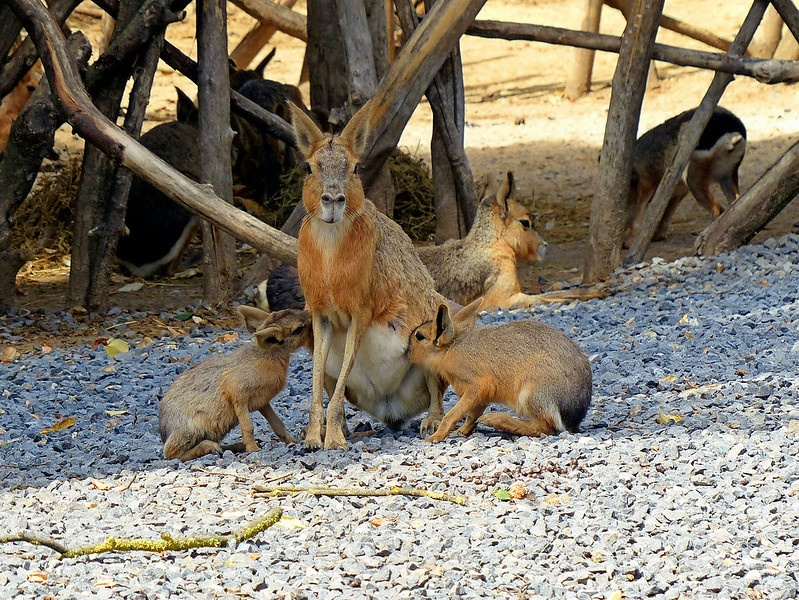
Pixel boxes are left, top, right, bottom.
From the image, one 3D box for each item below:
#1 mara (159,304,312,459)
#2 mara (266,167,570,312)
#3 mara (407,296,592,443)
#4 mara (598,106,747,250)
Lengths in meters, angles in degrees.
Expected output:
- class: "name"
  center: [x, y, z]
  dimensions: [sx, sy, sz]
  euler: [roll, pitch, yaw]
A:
- class: "mara"
  center: [-0.986, 0.570, 7.343]
  dimensions: [1.185, 1.073, 0.661]
  euler: [-13, 8, -1]
- class: "mara"
  center: [0.154, -0.508, 9.423]
  dimensions: [2.140, 1.288, 0.719]
  euler: [-17, 21, -5]
- class: "mara"
  center: [0.609, 0.488, 7.364]
  dimensions: [1.440, 1.155, 0.654]
  euler: [2, 0, 21]
- class: "mara"
  center: [3.147, -1.319, 11.758]
  dimensions: [1.295, 1.639, 0.793]
  euler: [18, 29, 32]
